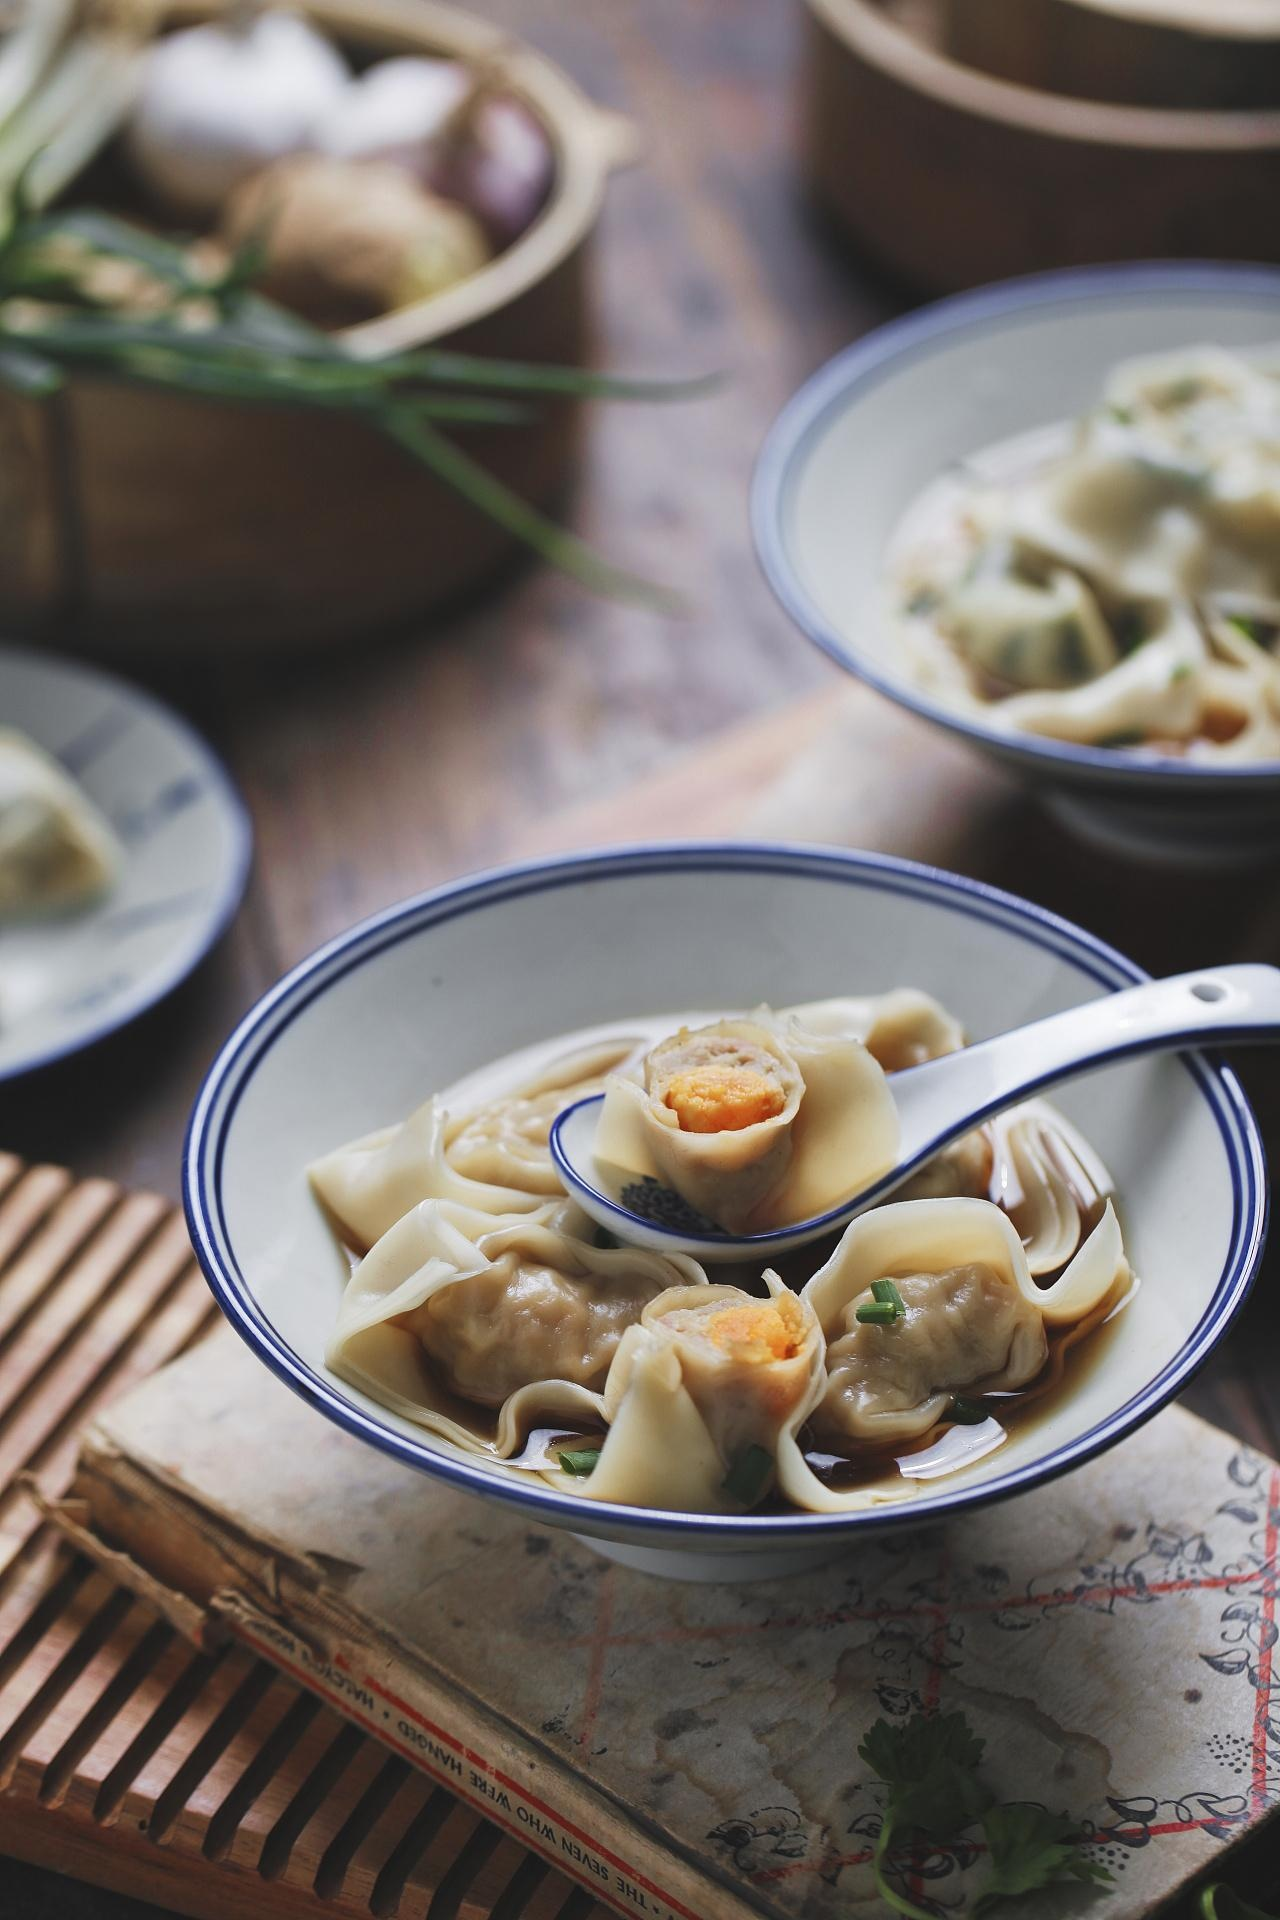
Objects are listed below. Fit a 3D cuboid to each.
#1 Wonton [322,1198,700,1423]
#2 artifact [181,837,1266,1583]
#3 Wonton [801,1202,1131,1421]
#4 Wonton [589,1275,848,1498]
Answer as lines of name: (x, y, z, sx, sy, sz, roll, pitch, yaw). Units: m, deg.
Wonton: (-0.058, 0.154, 0.832, 0.087, 0.050, 0.124, 52, 28, 13)
artifact: (0.012, 0.116, 1.007, 0.425, 0.119, 0.340, -4, 33, -3)
Wonton: (0.141, 0.150, 0.828, 0.161, 0.046, 0.091, -15, 47, -1)
Wonton: (0.028, 0.173, 0.749, 0.084, 0.052, 0.093, -13, 36, 4)
